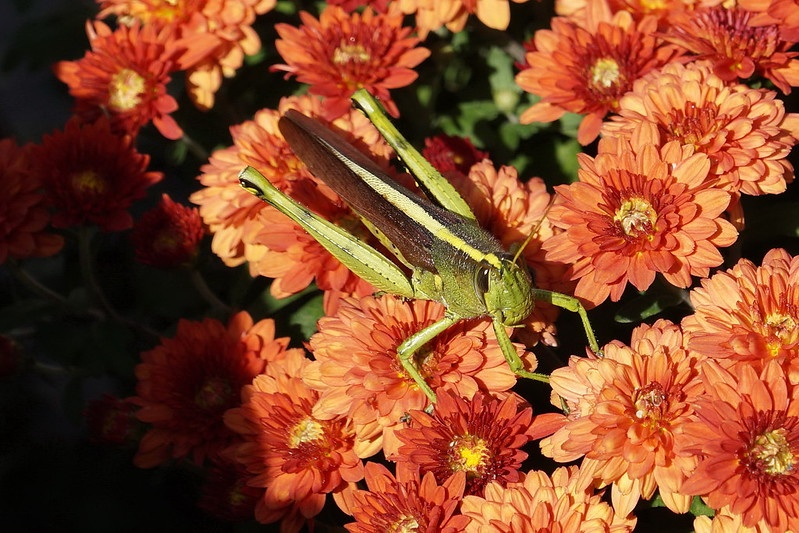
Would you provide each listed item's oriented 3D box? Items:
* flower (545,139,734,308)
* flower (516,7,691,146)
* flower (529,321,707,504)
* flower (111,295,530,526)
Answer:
[{"bbox_3d":[0.361,-0.058,1.256,0.278,0.167,0.215,-10,63,9],"label":"flower"},{"bbox_3d":[0.328,-0.340,1.338,0.238,0.083,0.241,-43,71,9],"label":"flower"},{"bbox_3d":[0.368,0.194,1.176,0.240,0.247,0.081,-54,44,8],"label":"flower"},{"bbox_3d":[-0.106,0.217,1.254,0.433,0.140,0.431,-32,71,20],"label":"flower"}]
